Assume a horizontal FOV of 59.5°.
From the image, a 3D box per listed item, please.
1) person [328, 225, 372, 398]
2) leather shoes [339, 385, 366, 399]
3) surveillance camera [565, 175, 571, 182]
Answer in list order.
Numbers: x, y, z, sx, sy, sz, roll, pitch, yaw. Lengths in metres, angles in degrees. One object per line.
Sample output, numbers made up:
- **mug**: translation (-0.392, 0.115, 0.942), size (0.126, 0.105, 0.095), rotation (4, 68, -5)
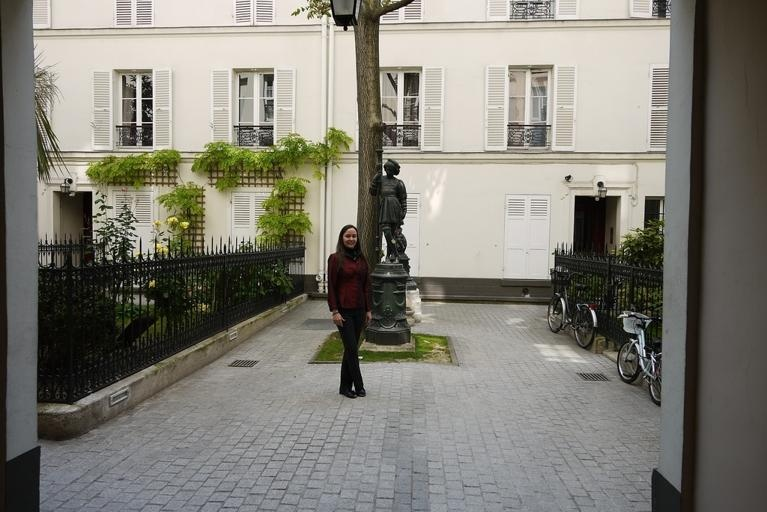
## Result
- **person**: translation (-0.466, 0.773, 9.397), size (0.586, 2.369, 0.520), rotation (-1, 9, -11)
- **leather shoes**: translation (-0.433, 1.903, 9.449), size (0.392, 0.186, 0.150), rotation (-3, -4, 8)
- **surveillance camera**: translation (5.178, -2.168, 18.719), size (0.172, 0.187, 0.116), rotation (0, 5, 1)
